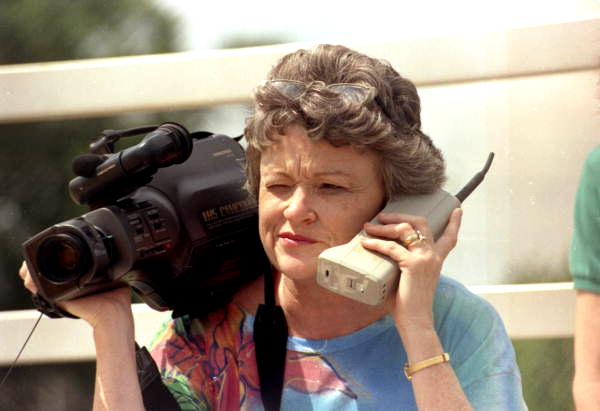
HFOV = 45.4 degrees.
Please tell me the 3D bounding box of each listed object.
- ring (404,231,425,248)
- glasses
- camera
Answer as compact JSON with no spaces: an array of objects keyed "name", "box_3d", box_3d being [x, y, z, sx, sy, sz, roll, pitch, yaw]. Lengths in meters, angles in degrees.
[{"name":"ring","box_3d":[0.367,0.108,2.303,0.058,0.030,0.048,-32,24,9]},{"name":"glasses","box_3d":[0.092,-0.339,2.347,0.400,0.155,0.075,-3,29,9]},{"name":"camera","box_3d":[-0.466,0.045,2.372,0.823,0.538,0.625,9,-2,-6]}]
